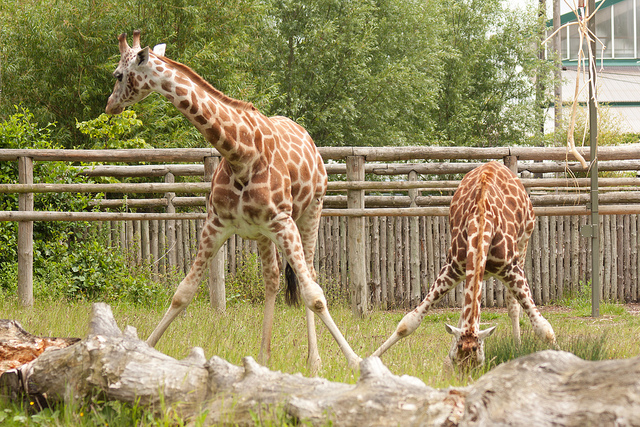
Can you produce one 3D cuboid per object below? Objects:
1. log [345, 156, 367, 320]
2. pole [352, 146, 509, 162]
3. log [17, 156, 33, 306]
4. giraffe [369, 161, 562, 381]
[{"bbox_3d":[0.886,0.461,24.304,0.648,3.270,0.457,2,0,-14],"label":"log"},{"bbox_3d":[2.550,-1.387,24.573,3.597,0.341,0.416,1,2,-3],"label":"pole"},{"bbox_3d":[-6.462,0.986,23.852,0.314,3.226,0.313,-3,-10,5],"label":"log"},{"bbox_3d":[3.427,1.234,22.707,4.476,4.326,7.547,3,12,12],"label":"giraffe"}]
